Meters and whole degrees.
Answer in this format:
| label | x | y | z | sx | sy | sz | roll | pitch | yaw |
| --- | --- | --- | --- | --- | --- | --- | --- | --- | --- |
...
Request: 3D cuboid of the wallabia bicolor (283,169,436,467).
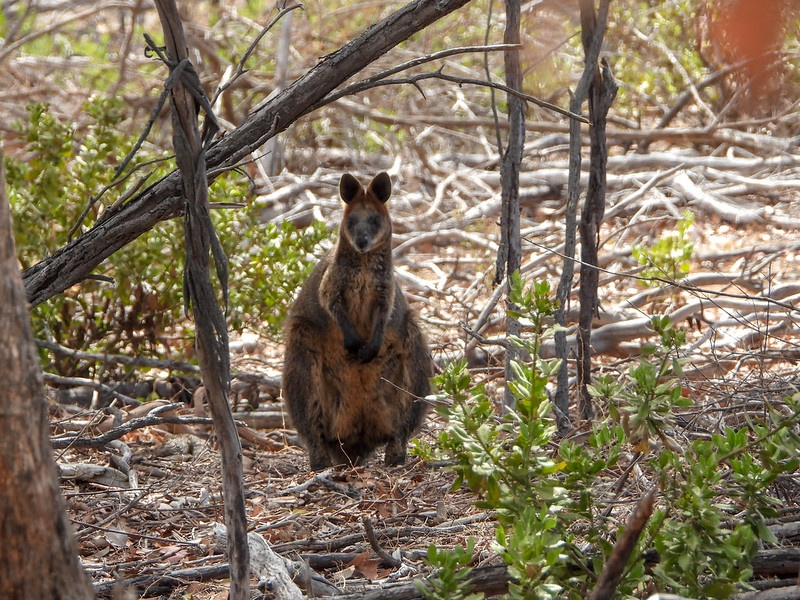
| label | x | y | z | sx | sy | sz | roll | pitch | yaw |
| --- | --- | --- | --- | --- | --- | --- | --- | --- | --- |
| wallabia bicolor | -0.314 | 0.111 | 7.398 | 1.011 | 2.078 | 0.505 | -4 | -10 | 1 |
